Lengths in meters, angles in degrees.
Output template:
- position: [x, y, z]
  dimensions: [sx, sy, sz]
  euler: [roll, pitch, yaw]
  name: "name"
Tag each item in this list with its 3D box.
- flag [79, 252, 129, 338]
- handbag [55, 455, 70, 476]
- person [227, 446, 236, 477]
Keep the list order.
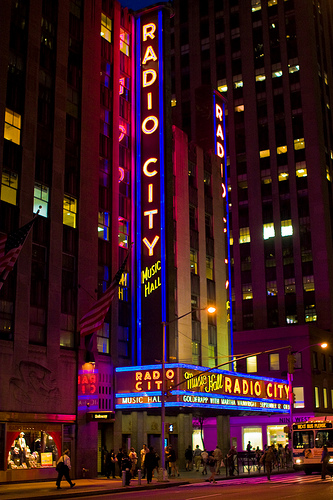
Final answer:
- position: [-3.249, 2.604, 30.877]
  dimensions: [1.347, 5.984, 0.250]
  euler: [-2, -53, 23]
  name: "flag"
- position: [-4.198, 8.705, 23.773]
  dimensions: [0.466, 0.798, 1.006]
  euler: [4, -22, -13]
  name: "handbag"
- position: [3.610, 11.828, 32.917]
  dimensions: [0.476, 1.620, 1.636]
  euler: [-2, -20, 5]
  name: "person"
